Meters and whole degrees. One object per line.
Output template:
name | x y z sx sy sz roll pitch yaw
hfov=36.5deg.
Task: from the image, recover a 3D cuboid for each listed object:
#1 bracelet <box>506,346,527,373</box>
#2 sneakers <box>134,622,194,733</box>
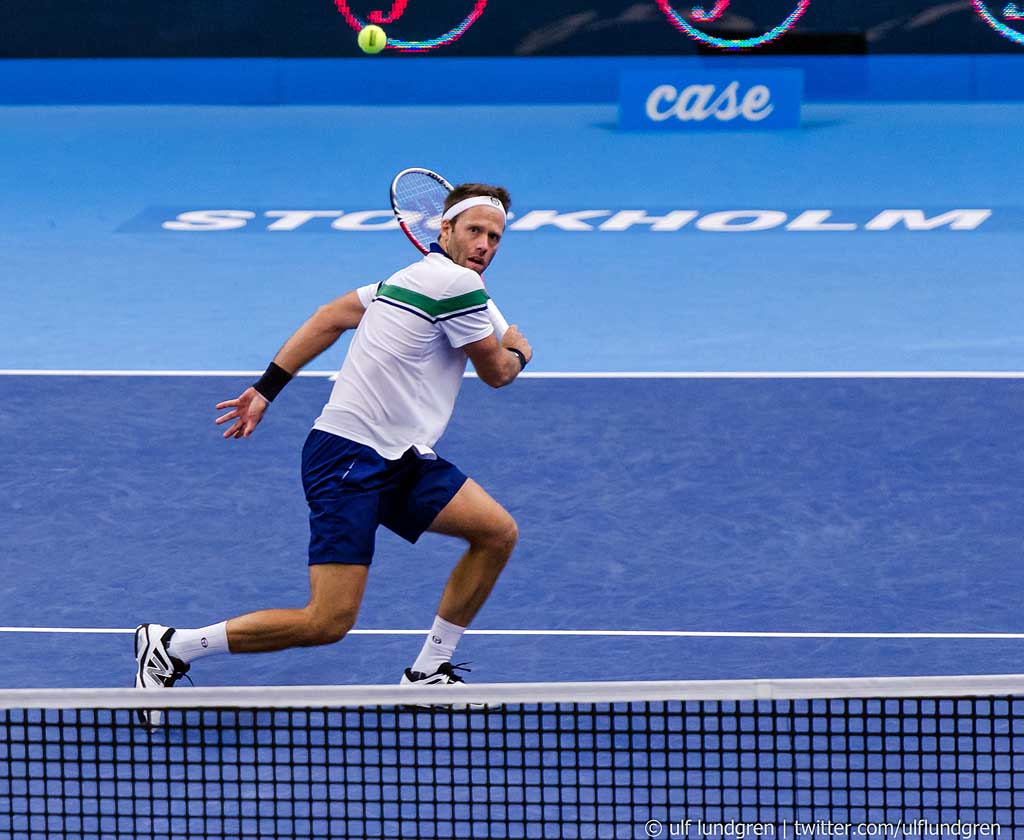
bracelet | 0.012 -0.283 7.162 0.090 0.084 0.110 -7 -9 -38
sneakers | -1.543 1.113 6.816 0.291 0.426 0.182 2 -6 12
